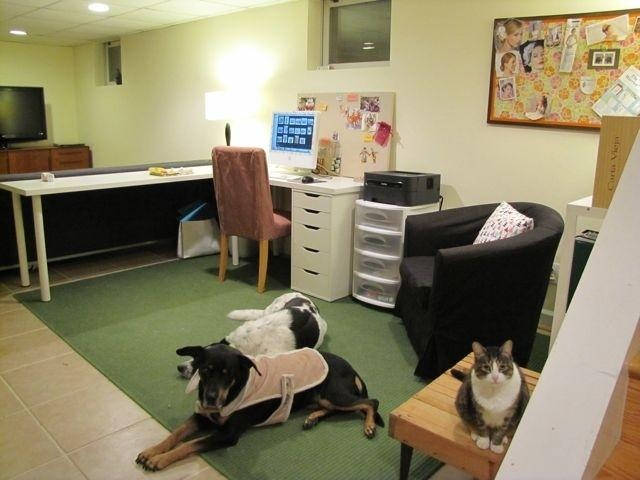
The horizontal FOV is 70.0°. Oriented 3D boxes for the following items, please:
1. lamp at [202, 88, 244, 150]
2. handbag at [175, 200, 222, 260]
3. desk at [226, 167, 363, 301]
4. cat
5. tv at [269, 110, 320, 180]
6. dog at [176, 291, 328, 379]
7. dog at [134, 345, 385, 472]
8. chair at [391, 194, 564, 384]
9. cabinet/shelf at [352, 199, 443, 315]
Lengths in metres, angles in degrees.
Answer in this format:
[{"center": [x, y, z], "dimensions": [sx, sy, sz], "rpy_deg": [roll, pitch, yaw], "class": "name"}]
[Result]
[{"center": [-1.035, -1.272, 4.845], "dimensions": [0.336, 0.561, 0.467], "rpy_deg": [-4, 18, -14], "class": "lamp"}, {"center": [-1.172, -0.078, 4.421], "dimensions": [0.478, 0.491, 0.193], "rpy_deg": [-13, 17, -43], "class": "handbag"}, {"center": [-0.293, -0.075, 3.677], "dimensions": [0.723, 1.106, 1.263], "rpy_deg": [-8, 17, -38], "class": "desk"}, {"center": [0.552, 0.480, 1.488], "dimensions": [0.206, 0.349, 0.296], "rpy_deg": [3, 10, 16], "class": "cat"}, {"center": [-0.291, -0.848, 3.947], "dimensions": [0.525, 0.512, 0.185], "rpy_deg": [-8, 20, -42], "class": "tv"}, {"center": [-0.210, 0.468, 2.488], "dimensions": [0.594, 0.202, 0.440], "rpy_deg": [-17, 32, -35], "class": "dog"}, {"center": [-0.240, 0.629, 2.086], "dimensions": [1.052, 0.472, 0.449], "rpy_deg": [-4, 11, -17], "class": "dog"}, {"center": [0.890, 0.233, 2.706], "dimensions": [0.779, 0.819, 0.868], "rpy_deg": [-1, 16, -1], "class": "chair"}, {"center": [0.496, 0.096, 3.448], "dimensions": [0.384, 0.711, 0.563], "rpy_deg": [8, 14, 23], "class": "cabinet/shelf"}]
